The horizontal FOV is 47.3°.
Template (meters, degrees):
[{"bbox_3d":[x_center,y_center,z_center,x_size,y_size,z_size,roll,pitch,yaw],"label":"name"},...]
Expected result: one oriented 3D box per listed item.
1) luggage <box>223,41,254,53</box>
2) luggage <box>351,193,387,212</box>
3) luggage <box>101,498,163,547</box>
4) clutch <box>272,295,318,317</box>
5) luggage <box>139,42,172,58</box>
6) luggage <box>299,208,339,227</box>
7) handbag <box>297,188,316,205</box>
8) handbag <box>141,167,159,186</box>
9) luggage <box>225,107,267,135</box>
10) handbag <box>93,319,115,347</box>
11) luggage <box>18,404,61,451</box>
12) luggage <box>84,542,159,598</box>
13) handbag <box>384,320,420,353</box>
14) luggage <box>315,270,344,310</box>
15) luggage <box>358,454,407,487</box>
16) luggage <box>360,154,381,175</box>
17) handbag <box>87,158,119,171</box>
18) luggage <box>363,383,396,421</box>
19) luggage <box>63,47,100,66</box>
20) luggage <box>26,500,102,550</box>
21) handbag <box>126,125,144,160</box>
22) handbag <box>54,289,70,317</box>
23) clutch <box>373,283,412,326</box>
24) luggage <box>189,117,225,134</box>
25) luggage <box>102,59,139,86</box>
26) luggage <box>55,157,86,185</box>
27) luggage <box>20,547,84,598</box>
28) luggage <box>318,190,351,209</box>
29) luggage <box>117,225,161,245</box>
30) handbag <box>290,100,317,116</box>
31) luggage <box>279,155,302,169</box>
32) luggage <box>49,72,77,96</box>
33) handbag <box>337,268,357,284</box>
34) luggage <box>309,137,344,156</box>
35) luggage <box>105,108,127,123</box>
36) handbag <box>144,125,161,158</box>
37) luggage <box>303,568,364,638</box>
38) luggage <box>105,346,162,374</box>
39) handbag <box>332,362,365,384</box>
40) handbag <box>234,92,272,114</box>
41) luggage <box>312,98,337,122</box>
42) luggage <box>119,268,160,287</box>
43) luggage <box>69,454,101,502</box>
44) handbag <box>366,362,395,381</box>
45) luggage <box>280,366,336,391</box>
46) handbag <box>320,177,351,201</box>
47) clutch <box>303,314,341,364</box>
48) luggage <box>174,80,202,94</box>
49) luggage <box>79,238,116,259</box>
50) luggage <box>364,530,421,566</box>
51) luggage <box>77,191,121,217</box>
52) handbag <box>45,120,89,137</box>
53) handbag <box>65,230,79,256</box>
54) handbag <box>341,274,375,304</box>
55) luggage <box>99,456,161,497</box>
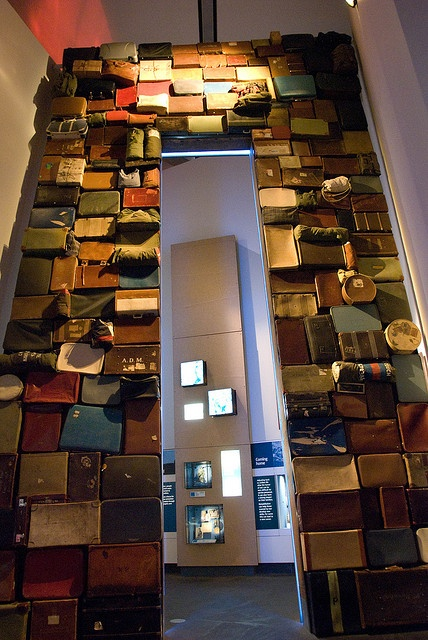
[{"bbox_3d":[0.287,-3.270,5.851,0.318,0.247,0.077,2,-22,-2],"label":"luggage"},{"bbox_3d":[1.524,-1.136,4.854,0.268,0.200,0.058,-1,-20,-3],"label":"luggage"},{"bbox_3d":[-0.617,1.497,3.632,0.488,0.357,0.271,-1,-18,0],"label":"luggage"},{"bbox_3d":[0.719,-0.123,4.340,0.400,0.233,0.034,-3,-22,-4],"label":"clutch"},{"bbox_3d":[-0.705,-3.148,5.716,0.249,0.286,0.064,1,-14,-2],"label":"luggage"},{"bbox_3d":[1.014,-0.981,4.760,0.274,0.194,0.064,3,-12,-8],"label":"luggage"},{"bbox_3d":[0.890,-1.173,4.724,0.147,0.157,0.046,-2,-17,20],"label":"handbag"},{"bbox_3d":[-0.633,-1.418,4.840,0.169,0.175,0.098,-4,-28,8],"label":"handbag"},{"bbox_3d":[0.315,-2.055,5.096,0.345,0.245,0.171,0,-4,-7],"label":"luggage"},{"bbox_3d":[-0.944,0.110,4.122,0.160,0.222,0.077,-2,-18,-6],"label":"handbag"},{"bbox_3d":[-1.373,0.861,3.907,0.239,0.346,0.089,0,-19,-6],"label":"luggage"},{"bbox_3d":[-0.688,1.937,3.608,0.568,0.384,0.354,-2,-55,-5],"label":"luggage"},{"bbox_3d":[1.572,0.150,4.158,0.253,0.261,0.091,-25,-17,-22],"label":"handbag"},{"bbox_3d":[1.022,-0.275,4.378,0.247,0.441,0.100,-2,-27,-3],"label":"luggage"},{"bbox_3d":[1.284,1.162,3.766,0.314,0.235,0.074,-3,-13,-3],"label":"luggage"},{"bbox_3d":[1.579,-1.574,4.959,0.195,0.211,0.074,-4,-13,-6],"label":"luggage"},{"bbox_3d":[-1.112,-1.567,4.940,0.306,0.122,0.082,-2,-22,-4],"label":"handbag"},{"bbox_3d":[1.352,0.658,3.972,0.249,0.266,0.061,-1,-22,-6],"label":"luggage"},{"bbox_3d":[-1.496,-2.967,5.508,0.337,0.257,0.197,-1,-5,-1],"label":"luggage"},{"bbox_3d":[-1.129,1.551,3.649,0.505,0.345,0.107,3,-53,-20],"label":"luggage"},{"bbox_3d":[-0.800,-1.774,4.908,0.168,0.355,0.113,3,-18,-2],"label":"handbag"},{"bbox_3d":[-1.319,-0.145,4.224,0.141,0.215,0.062,2,-9,3],"label":"handbag"},{"bbox_3d":[1.587,-0.155,4.382,0.296,0.454,0.100,2,-30,-5],"label":"clutch"},{"bbox_3d":[-0.090,-2.061,5.198,0.322,0.219,0.074,-3,-10,-8],"label":"luggage"},{"bbox_3d":[-1.046,-2.758,5.421,0.331,0.274,0.123,0,-12,-11],"label":"luggage"},{"bbox_3d":[-1.417,-1.470,4.818,0.245,0.284,0.073,4,-28,-3],"label":"luggage"},{"bbox_3d":[-1.159,1.829,3.524,0.414,0.338,0.075,-4,-22,1],"label":"luggage"},{"bbox_3d":[1.179,-1.162,4.779,0.211,0.218,0.050,4,-4,-7],"label":"luggage"},{"bbox_3d":[-0.727,-0.775,4.556,0.390,0.179,0.055,-3,-22,-2],"label":"luggage"},{"bbox_3d":[0.948,-2.283,5.277,0.207,0.234,0.059,5,-23,-5],"label":"handbag"},{"bbox_3d":[0.764,-1.595,4.941,0.200,0.143,0.047,-2,-14,-3],"label":"luggage"},{"bbox_3d":[-1.659,-2.564,5.352,0.300,0.327,0.237,-3,14,-24],"label":"luggage"},{"bbox_3d":[1.185,-0.396,4.371,0.074,0.101,0.225,1,2,-11],"label":"handbag"},{"bbox_3d":[1.185,-1.798,5.080,0.291,0.207,0.062,-2,-12,-7],"label":"luggage"},{"bbox_3d":[-1.026,-2.152,5.177,0.240,0.157,0.045,-4,-22,0],"label":"luggage"},{"bbox_3d":[-0.634,-1.783,4.952,0.153,0.355,0.113,-1,-24,-4],"label":"handbag"},{"bbox_3d":[0.811,1.986,3.416,0.343,0.359,0.356,0,-27,0],"label":"luggage"},{"bbox_3d":[-0.691,0.334,4.108,0.377,0.263,0.229,-1,-31,1],"label":"luggage"},{"bbox_3d":[1.089,0.426,3.978,0.221,0.213,0.174,2,-6,-15],"label":"handbag"},{"bbox_3d":[0.419,-2.250,5.127,0.273,0.287,0.124,5,-62,12],"label":"handbag"},{"bbox_3d":[1.204,-2.269,5.284,0.258,0.275,0.064,-2,-21,-12],"label":"luggage"},{"bbox_3d":[-0.687,-0.376,4.431,0.220,0.224,0.054,1,-21,0],"label":"luggage"},{"bbox_3d":[-1.013,1.222,3.772,0.254,0.376,0.083,4,-6,-19],"label":"luggage"},{"bbox_3d":[1.339,0.420,3.972,0.235,0.169,0.170,1,9,-15],"label":"handbag"},{"bbox_3d":[0.761,0.489,4.076,0.300,0.219,0.085,-3,-12,3],"label":"luggage"},{"bbox_3d":[1.176,-1.278,4.751,0.276,0.210,0.109,8,-7,12],"label":"handbag"},{"bbox_3d":[0.914,0.159,4.130,0.304,0.461,0.133,-4,-25,-4],"label":"clutch"},{"bbox_3d":[-0.280,-2.532,5.313,0.206,0.213,0.063,-1,-20,-4],"label":"luggage"},{"bbox_3d":[-1.085,-0.623,4.563,0.237,0.187,0.059,4,-16,0],"label":"luggage"},{"bbox_3d":[1.297,1.676,3.586,0.370,0.258,0.124,-9,-23,12],"label":"luggage"},{"bbox_3d":[-1.107,-1.131,4.713,0.364,0.263,0.085,-3,-15,-3],"label":"luggage"},{"bbox_3d":[-1.514,-1.979,5.036,0.261,0.222,0.080,0,-24,3],"label":"handbag"},{"bbox_3d":[-1.310,-0.711,4.505,0.056,0.199,0.141,-9,-14,21],"label":"handbag"},{"bbox_3d":[1.266,-0.261,4.325,0.277,0.264,0.150,-3,-22,-1],"label":"handbag"},{"bbox_3d":[-0.648,1.258,3.917,0.378,0.294,0.094,-1,-18,-5],"label":"luggage"}]
